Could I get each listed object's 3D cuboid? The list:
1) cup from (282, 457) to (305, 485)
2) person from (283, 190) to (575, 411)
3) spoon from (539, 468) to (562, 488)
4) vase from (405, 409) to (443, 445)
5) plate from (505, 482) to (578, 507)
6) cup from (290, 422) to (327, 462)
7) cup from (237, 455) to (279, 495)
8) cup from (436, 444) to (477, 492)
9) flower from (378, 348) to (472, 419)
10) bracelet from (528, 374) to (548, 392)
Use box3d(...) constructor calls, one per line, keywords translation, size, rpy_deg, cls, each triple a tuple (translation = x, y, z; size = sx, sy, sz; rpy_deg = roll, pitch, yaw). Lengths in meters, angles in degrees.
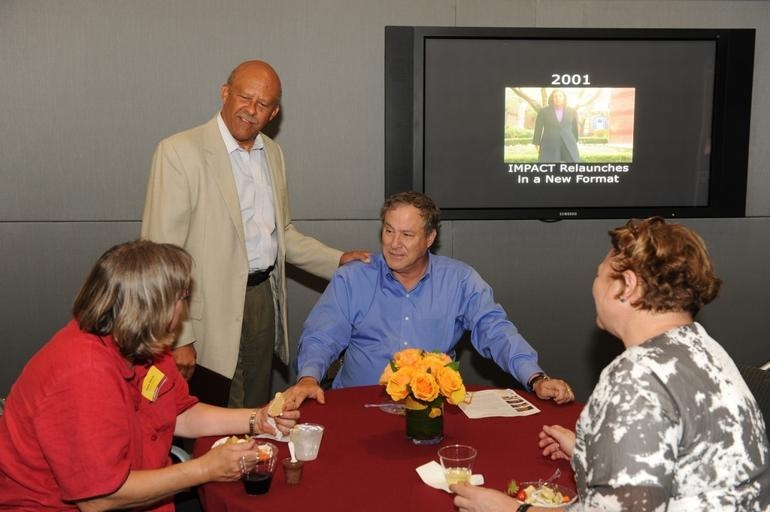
box3d(translation=(-0.344, 0.804, 2.245), size=(0.070, 0.064, 0.076), rpy_deg=(1, -5, 0), cls="cup")
box3d(translation=(0.266, 0.269, 3.272), size=(1.419, 1.280, 0.957), rpy_deg=(1, -2, 10), cls="person")
box3d(translation=(0.627, 0.824, 2.268), size=(0.036, 0.039, 0.116), rpy_deg=(14, 18, 28), cls="spoon")
box3d(translation=(0.180, 0.672, 2.525), size=(0.140, 0.173, 0.149), rpy_deg=(-4, 13, -2), cls="vase")
box3d(translation=(0.576, 0.865, 2.179), size=(0.115, 0.044, 0.124), rpy_deg=(1, -1, -1), cls="plate")
box3d(translation=(-0.301, 0.732, 2.365), size=(0.121, 0.113, 0.122), rpy_deg=(-1, -1, 0), cls="cup")
box3d(translation=(-0.462, 0.798, 2.211), size=(0.105, 0.101, 0.101), rpy_deg=(1, 2, 0), cls="cup")
box3d(translation=(0.271, 0.777, 2.238), size=(0.121, 0.225, 0.138), rpy_deg=(-1, 9, 2), cls="cup")
box3d(translation=(0.104, 0.501, 2.498), size=(0.227, 0.195, 0.266), rpy_deg=(-1, -6, 38), cls="flower")
box3d(translation=(0.749, 0.618, 2.906), size=(0.075, 0.071, 0.043), rpy_deg=(-33, -47, 31), cls="bracelet")
